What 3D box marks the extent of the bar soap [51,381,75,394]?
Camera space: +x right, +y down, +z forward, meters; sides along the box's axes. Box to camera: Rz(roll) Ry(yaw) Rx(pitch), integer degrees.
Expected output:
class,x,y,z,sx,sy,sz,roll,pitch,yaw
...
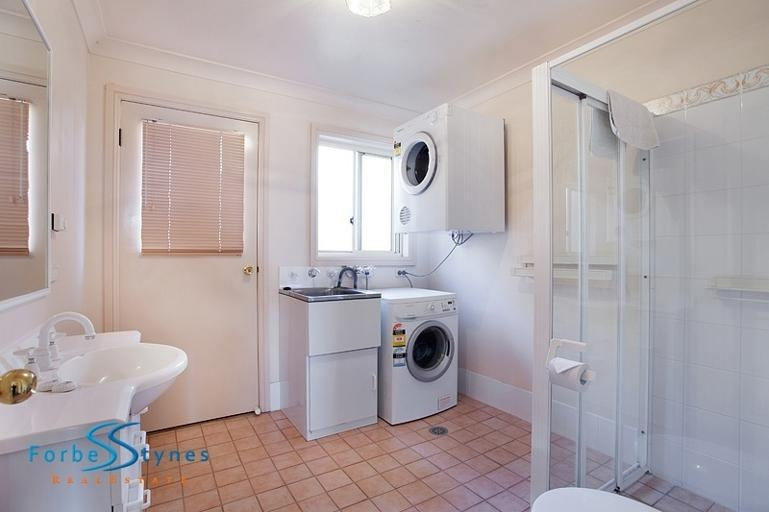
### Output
class,x,y,z,sx,sy,sz,roll,pitch,yaw
bar soap,-1.342,0.544,2.037,0.088,0.030,0.067,4,12,17

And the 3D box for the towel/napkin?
class,x,y,z,sx,sy,sz,roll,pitch,yaw
towel/napkin,1.158,-0.648,2.341,0.322,0.290,0.043,10,15,39

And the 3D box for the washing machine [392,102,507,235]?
class,x,y,z,sx,sy,sz,roll,pitch,yaw
washing machine,0.538,-0.671,4.099,0.700,0.905,0.849,0,1,-25

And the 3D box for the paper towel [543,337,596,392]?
class,x,y,z,sx,sy,sz,roll,pitch,yaw
paper towel,0.919,0.548,2.458,0.135,0.237,0.235,1,2,-32

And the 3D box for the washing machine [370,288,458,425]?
class,x,y,z,sx,sy,sz,roll,pitch,yaw
washing machine,0.177,0.791,4.078,0.800,0.952,0.748,-2,3,-23
